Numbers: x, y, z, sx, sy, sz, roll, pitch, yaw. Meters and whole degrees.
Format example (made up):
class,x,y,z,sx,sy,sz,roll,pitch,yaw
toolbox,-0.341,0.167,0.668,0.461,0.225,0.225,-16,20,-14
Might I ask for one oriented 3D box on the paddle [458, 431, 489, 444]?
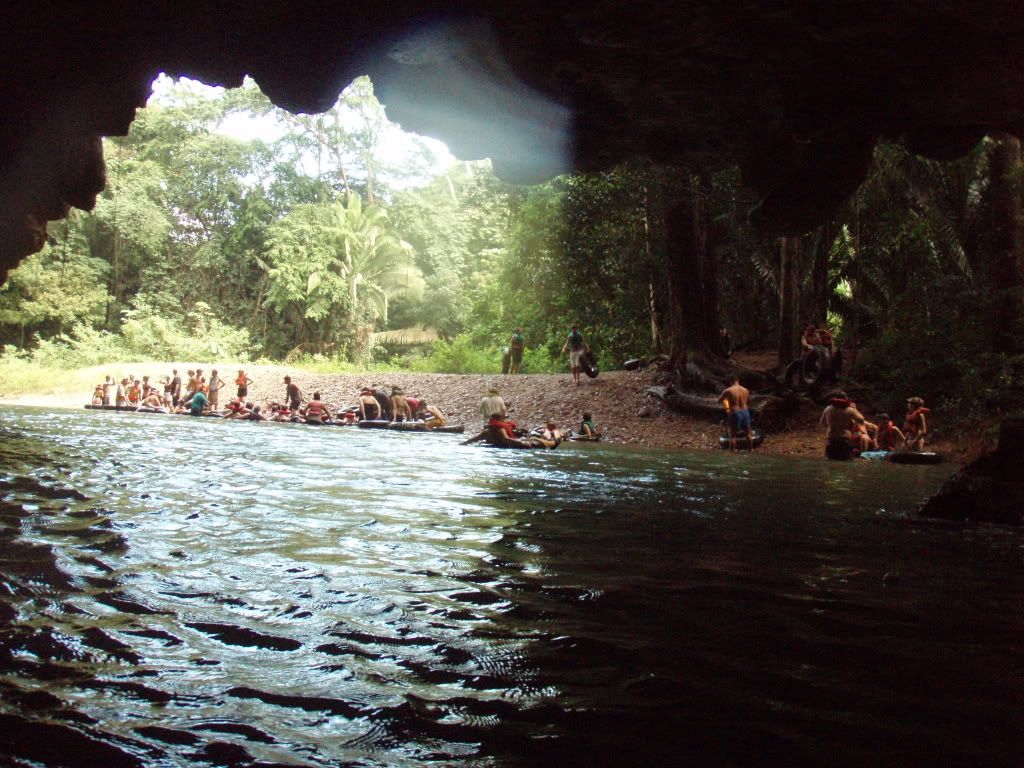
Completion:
class,x,y,z,sx,sy,sz,roll,pitch,yaw
paddle,-0.813,1.185,16.753,0.225,0.145,0.906,21,-38,-37

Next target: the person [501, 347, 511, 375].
class,x,y,z,sx,sy,sz,roll,pitch,yaw
person,-0.349,-0.824,28.909,0.378,0.852,0.511,3,11,1

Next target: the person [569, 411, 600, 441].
class,x,y,z,sx,sy,sz,roll,pitch,yaw
person,1.940,1.087,19.989,0.773,0.891,0.694,1,10,2

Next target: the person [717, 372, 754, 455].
class,x,y,z,sx,sy,sz,roll,pitch,yaw
person,5.411,0.716,18.584,0.796,1.464,1.326,2,4,16

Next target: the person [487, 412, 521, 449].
class,x,y,z,sx,sy,sz,roll,pitch,yaw
person,-0.204,1.029,16.800,0.383,0.335,0.965,-20,-47,16
